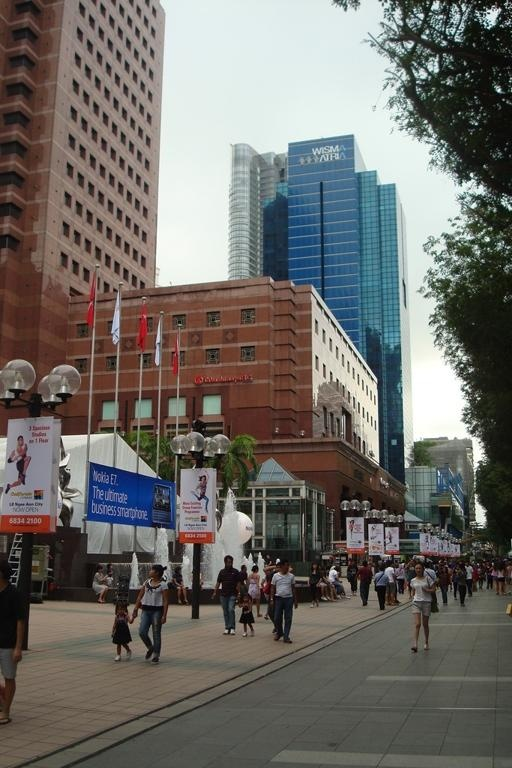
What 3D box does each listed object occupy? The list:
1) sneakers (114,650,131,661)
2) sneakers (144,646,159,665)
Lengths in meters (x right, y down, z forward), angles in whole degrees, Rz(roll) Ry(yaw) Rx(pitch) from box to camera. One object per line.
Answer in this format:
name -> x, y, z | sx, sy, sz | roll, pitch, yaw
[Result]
sneakers -> -2.206, 4.401, 10.942 | 0.138, 0.195, 0.440 | -5, -18, 15
sneakers -> -1.684, 4.377, 10.810 | 0.148, 0.193, 0.415 | 6, -3, -6
